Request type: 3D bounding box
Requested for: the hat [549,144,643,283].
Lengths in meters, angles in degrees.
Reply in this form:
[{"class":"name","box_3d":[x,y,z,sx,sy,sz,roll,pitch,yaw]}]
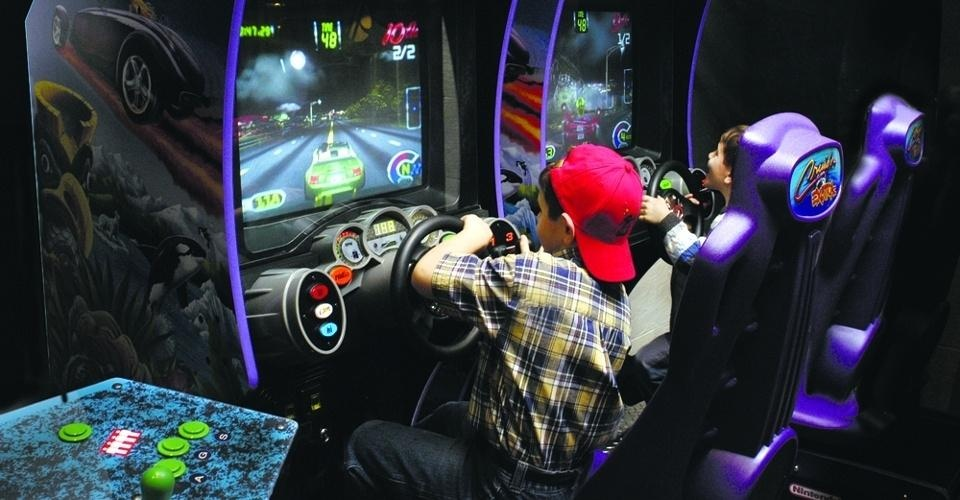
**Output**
[{"class":"hat","box_3d":[0.515,-0.188,2.966,0.379,0.609,0.340,-9,-19,-44]}]
